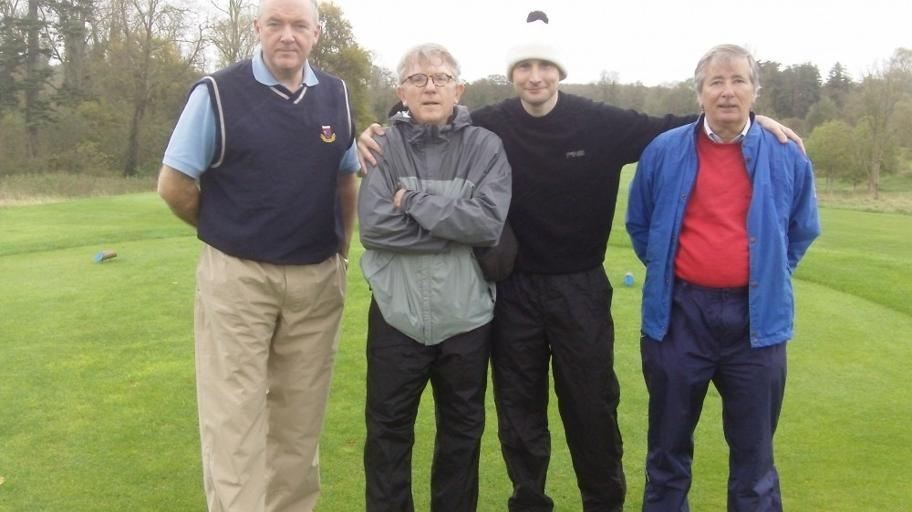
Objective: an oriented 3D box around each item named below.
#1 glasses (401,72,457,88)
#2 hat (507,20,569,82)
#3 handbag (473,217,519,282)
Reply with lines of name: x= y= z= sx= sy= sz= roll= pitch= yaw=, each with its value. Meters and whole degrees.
glasses: x=-0.244 y=-1.471 z=5.885 sx=0.426 sy=0.119 sz=0.061 roll=0 pitch=10 yaw=-1
hat: x=0.696 y=-1.751 z=6.277 sx=0.525 sy=0.437 sz=0.584 roll=-1 pitch=-8 yaw=8
handbag: x=0.301 y=-0.058 z=5.894 sx=0.275 sy=0.396 sz=0.555 roll=-1 pitch=-10 yaw=33
